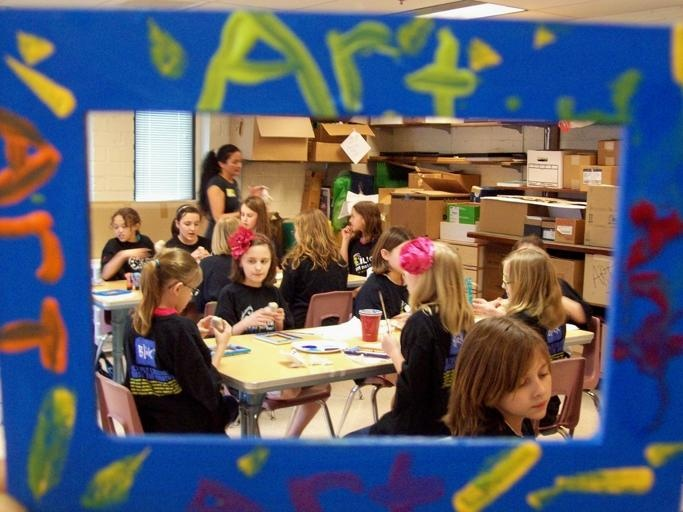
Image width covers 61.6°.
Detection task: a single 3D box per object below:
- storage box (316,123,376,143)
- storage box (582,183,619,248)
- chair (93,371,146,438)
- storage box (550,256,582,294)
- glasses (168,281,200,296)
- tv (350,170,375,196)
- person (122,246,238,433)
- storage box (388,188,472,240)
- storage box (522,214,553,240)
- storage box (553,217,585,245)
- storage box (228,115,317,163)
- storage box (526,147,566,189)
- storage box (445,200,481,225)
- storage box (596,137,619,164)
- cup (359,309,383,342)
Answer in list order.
[{"bbox_3d":[0.023,-1.564,7.304,0.665,0.271,0.393,-2,5,-19],"label":"storage box"},{"bbox_3d":[2.217,-0.329,4.846,0.214,0.539,0.438,-1,5,-3],"label":"storage box"},{"bbox_3d":[-1.019,0.679,2.502,0.231,0.321,0.279,3,-15,-12],"label":"chair"},{"bbox_3d":[1.705,0.151,4.335,0.367,0.314,0.191,1,3,12],"label":"storage box"},{"bbox_3d":[-0.715,0.144,2.573,0.113,0.033,0.112,-34,-30,25],"label":"glasses"},{"bbox_3d":[0.263,-0.926,7.315,0.342,0.283,0.076,6,-6,-39],"label":"tv"},{"bbox_3d":[-0.728,0.399,2.527,0.428,0.840,0.243,-2,5,-20],"label":"person"},{"bbox_3d":[0.941,-0.490,6.361,0.729,0.497,0.707,-3,10,-40],"label":"storage box"},{"bbox_3d":[1.843,-0.267,5.342,0.304,0.163,0.294,-5,9,-33],"label":"storage box"},{"bbox_3d":[1.983,-0.219,5.103,0.250,0.216,0.235,0,3,-7],"label":"storage box"},{"bbox_3d":[-0.877,-1.479,7.161,0.923,0.493,0.935,6,10,37],"label":"storage box"},{"bbox_3d":[1.983,-0.842,5.591,0.397,0.344,0.380,0,4,-33],"label":"storage box"},{"bbox_3d":[1.258,-0.452,5.940,0.266,0.150,0.266,-7,10,-41],"label":"storage box"},{"bbox_3d":[2.379,-0.922,5.083,0.131,0.250,0.419,0,4,5],"label":"storage box"},{"bbox_3d":[0.155,0.379,3.125,0.175,0.165,0.161,0,2,0],"label":"cup"}]
